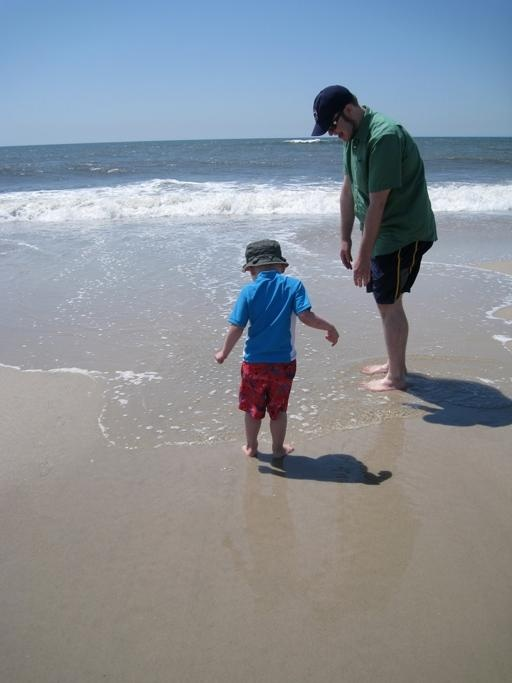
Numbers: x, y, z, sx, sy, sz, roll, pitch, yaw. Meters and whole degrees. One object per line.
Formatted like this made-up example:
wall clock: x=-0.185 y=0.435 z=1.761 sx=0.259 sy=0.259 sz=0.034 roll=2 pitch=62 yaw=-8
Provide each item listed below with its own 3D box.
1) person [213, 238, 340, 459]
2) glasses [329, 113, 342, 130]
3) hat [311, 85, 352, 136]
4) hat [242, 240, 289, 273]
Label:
person: x=0.098 y=0.051 z=3.171 sx=0.554 sy=1.078 sz=0.361 roll=0 pitch=16 yaw=7
glasses: x=0.429 y=-1.183 z=3.404 sx=0.018 sy=0.055 sz=0.062 roll=5 pitch=4 yaw=40
hat: x=0.407 y=-1.217 z=3.356 sx=0.224 sy=0.249 sz=0.298 roll=1 pitch=15 yaw=10
hat: x=0.039 y=-0.425 z=3.168 sx=0.197 sy=0.094 sz=0.194 roll=-5 pitch=4 yaw=5
